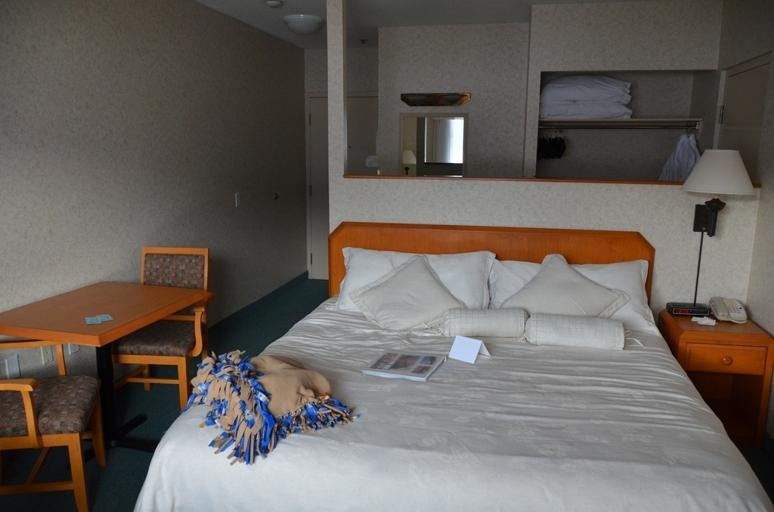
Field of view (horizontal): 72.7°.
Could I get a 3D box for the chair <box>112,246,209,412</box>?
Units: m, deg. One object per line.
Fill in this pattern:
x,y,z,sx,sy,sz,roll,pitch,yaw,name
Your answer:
-1.776,0.584,4.115,0.821,1.177,0.758,3,11,1,chair

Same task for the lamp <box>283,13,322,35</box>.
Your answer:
-0.845,-2.337,5.276,0.371,0.118,0.263,2,5,7,lamp

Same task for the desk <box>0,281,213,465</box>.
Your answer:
-1.909,0.725,3.831,1.090,1.097,1.358,5,12,14,desk

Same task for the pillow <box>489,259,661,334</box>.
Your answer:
1.570,0.204,3.691,1.023,0.589,0.267,2,1,9,pillow

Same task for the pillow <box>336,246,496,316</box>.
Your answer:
0.157,0.171,4.403,1.153,0.609,0.264,4,-21,-15,pillow

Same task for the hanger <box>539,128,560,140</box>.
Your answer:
1.767,-1.340,5.743,0.198,0.123,0.040,0,7,1,hanger

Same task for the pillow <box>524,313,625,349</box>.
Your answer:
1.279,0.514,3.588,0.558,0.177,0.261,1,11,9,pillow

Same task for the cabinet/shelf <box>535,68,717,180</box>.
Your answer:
2.475,-1.396,5.354,1.483,1.297,0.457,1,29,5,cabinet/shelf
